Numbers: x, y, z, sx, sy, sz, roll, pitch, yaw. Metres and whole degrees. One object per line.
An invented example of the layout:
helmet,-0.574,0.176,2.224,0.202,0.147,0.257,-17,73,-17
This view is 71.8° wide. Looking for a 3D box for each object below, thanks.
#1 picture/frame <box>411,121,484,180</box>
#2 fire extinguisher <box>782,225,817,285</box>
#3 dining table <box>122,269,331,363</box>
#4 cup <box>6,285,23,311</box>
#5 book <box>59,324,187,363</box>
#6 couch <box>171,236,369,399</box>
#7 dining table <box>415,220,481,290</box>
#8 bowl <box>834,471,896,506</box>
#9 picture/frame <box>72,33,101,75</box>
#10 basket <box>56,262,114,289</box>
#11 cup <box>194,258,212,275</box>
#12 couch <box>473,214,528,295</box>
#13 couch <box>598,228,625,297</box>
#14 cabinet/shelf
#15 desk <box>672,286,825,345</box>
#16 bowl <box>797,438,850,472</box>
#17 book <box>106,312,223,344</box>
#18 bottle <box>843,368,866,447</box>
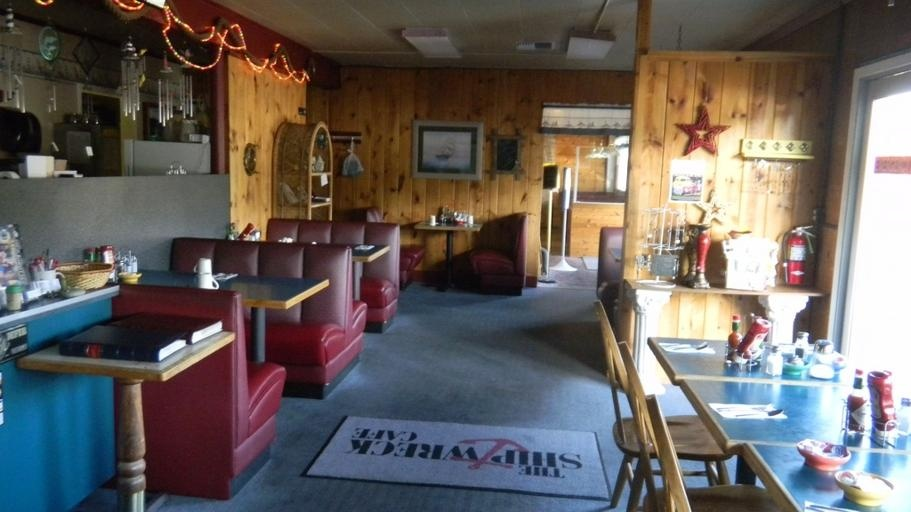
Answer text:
picture/frame,-0.107,-1.723,10.022,1.126,0.755,0.081,2,3,2
fire extinguisher,3.406,-0.002,6.237,0.313,0.600,0.144,5,9,20
dining table,-1.861,0.301,5.647,1.806,0.712,0.908,3,12,12
cup,-3.116,0.288,4.411,0.090,0.174,0.085,2,8,0
book,-2.301,0.597,4.305,0.442,0.081,0.362,3,11,12
couch,-1.953,0.454,6.748,2.933,1.622,1.466,1,2,11
dining table,-0.227,-0.058,10.131,1.231,0.953,1.107,4,14,8
bowl,2.431,1.369,3.721,0.345,0.139,0.182,3,8,14
picture/frame,-5.125,-2.782,8.641,0.046,0.499,0.582,10,18,27
basket,-2.904,0.151,4.893,0.373,0.167,0.442,-3,8,-31
cup,-2.198,0.087,5.460,0.101,0.124,0.163,0,7,-11
couch,1.034,0.028,10.149,0.896,1.084,1.593,0,0,29
couch,1.925,0.072,7.912,0.272,0.805,1.559,4,7,13
cabinet/shelf,-2.136,-1.177,8.726,0.663,1.328,1.227,2,8,1
desk,3.071,0.736,6.393,1.278,0.508,0.619,0,5,5
bowl,2.254,1.220,3.858,0.292,0.088,0.267,3,9,-1
book,-2.110,0.490,4.561,0.586,0.065,0.313,4,12,16
bottle,2.629,0.963,4.104,0.133,0.448,0.318,8,10,36
